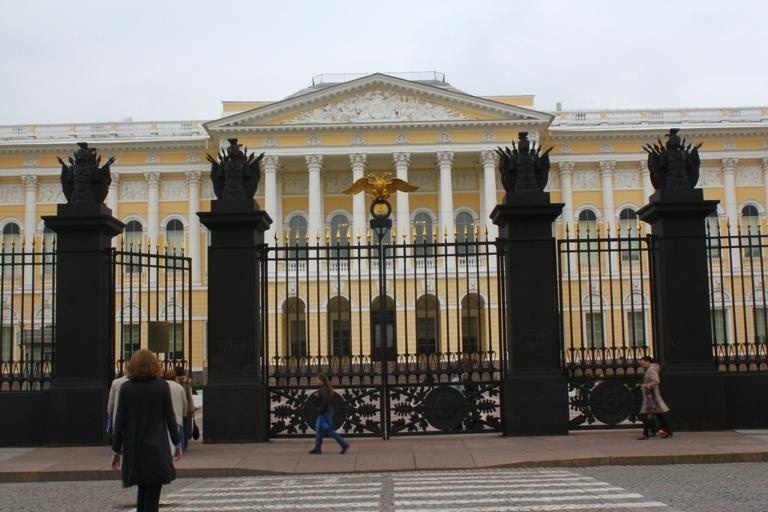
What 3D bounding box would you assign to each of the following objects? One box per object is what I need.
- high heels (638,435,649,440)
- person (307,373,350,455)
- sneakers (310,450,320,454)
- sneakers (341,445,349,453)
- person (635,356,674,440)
[{"bbox_3d":[6.339,4.436,27.340,0.107,0.120,0.279,-9,2,-25],"label":"high heels"},{"bbox_3d":[-1.402,3.864,27.280,0.877,1.949,0.956,-2,-7,-4],"label":"person"},{"bbox_3d":[-1.671,4.739,26.880,0.254,0.104,0.160,-3,-7,8],"label":"sneakers"},{"bbox_3d":[-0.964,4.666,26.977,0.198,0.197,0.424,-3,-7,0],"label":"sneakers"},{"bbox_3d":[6.657,3.498,27.595,0.802,2.023,0.790,-5,-7,14],"label":"person"}]
